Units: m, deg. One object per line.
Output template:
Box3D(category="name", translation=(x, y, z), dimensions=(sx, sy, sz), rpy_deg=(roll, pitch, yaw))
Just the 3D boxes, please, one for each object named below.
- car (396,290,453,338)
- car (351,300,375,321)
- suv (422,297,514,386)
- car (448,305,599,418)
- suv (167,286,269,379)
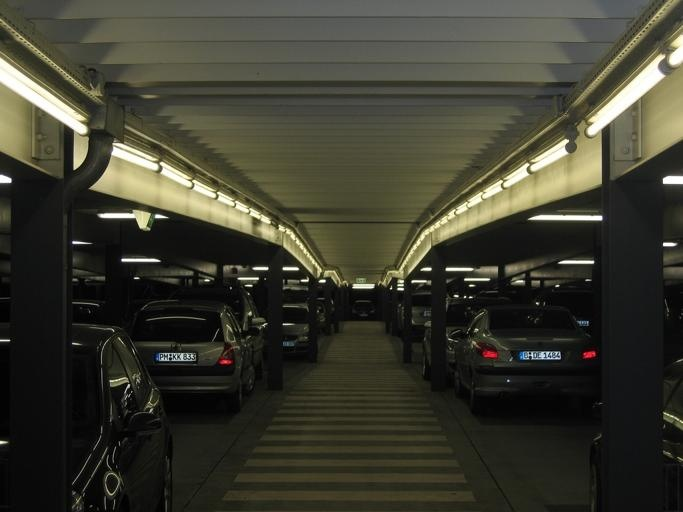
Box3D(category="car", translation=(3.076, 2.372, 27.017), dimensions=(1.337, 1.352, 3.156), rpy_deg=(0, 0, 5))
Box3D(category="car", translation=(1.943, 4.641, 55.420), dimensions=(1.860, 1.593, 2.057), rpy_deg=(1, -3, -16))
Box3D(category="suv", translation=(2.838, 1.842, 15.376), dimensions=(1.251, 1.164, 2.877), rpy_deg=(0, 0, 4))
Box3D(category="car", translation=(3.078, 1.738, 11.047), dimensions=(1.895, 1.788, 2.041), rpy_deg=(0, -3, 0))
Box3D(category="suv", translation=(-2.557, 1.680, 15.680), dimensions=(1.608, 1.513, 2.750), rpy_deg=(0, 6, 5))
